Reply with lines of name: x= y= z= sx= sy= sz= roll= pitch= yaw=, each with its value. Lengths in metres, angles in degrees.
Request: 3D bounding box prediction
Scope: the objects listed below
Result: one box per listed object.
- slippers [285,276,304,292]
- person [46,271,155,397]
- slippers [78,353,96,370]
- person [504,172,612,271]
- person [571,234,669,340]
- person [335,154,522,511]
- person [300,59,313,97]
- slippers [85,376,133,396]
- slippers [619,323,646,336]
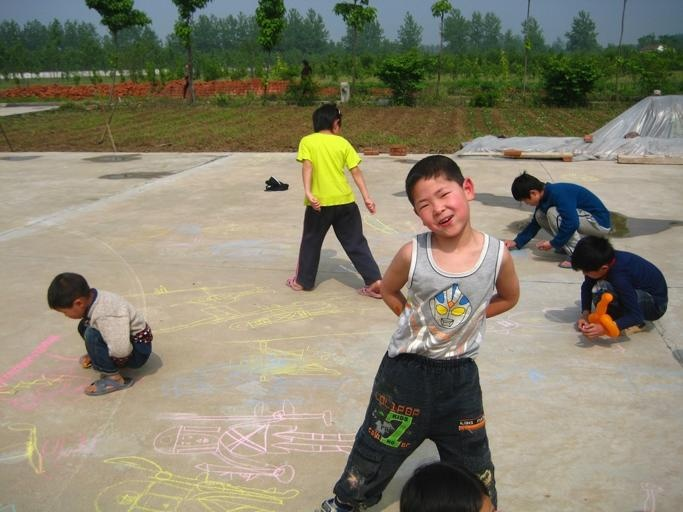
slippers: x=-0.445 y=0.258 z=5.489 sx=0.103 sy=0.052 sz=0.183 roll=-3 pitch=17 yaw=-16
person: x=-1.494 y=0.425 z=4.132 sx=0.927 sy=0.902 sz=0.701 roll=0 pitch=25 yaw=-16
slippers: x=-1.830 y=0.756 z=4.221 sx=0.093 sy=0.056 sz=0.148 roll=-2 pitch=20 yaw=-32
person: x=2.236 y=-0.399 z=5.998 sx=1.143 sy=0.852 sz=0.673 roll=-3 pitch=12 yaw=8
person: x=2.118 y=0.221 z=4.483 sx=0.856 sy=0.727 sz=0.553 roll=-10 pitch=17 yaw=-14
person: x=0.396 y=0.408 z=2.815 sx=0.865 sy=1.743 sz=0.525 roll=2 pitch=18 yaw=13
person: x=-1.542 y=-7.749 z=25.357 sx=0.438 sy=1.434 sz=0.829 roll=-4 pitch=17 yaw=-3
slippers: x=-1.568 y=0.866 z=3.938 sx=0.248 sy=0.075 sz=0.124 roll=0 pitch=6 yaw=-20
slippers: x=2.193 y=0.550 z=4.403 sx=0.179 sy=0.074 sz=0.082 roll=-12 pitch=19 yaw=-18
